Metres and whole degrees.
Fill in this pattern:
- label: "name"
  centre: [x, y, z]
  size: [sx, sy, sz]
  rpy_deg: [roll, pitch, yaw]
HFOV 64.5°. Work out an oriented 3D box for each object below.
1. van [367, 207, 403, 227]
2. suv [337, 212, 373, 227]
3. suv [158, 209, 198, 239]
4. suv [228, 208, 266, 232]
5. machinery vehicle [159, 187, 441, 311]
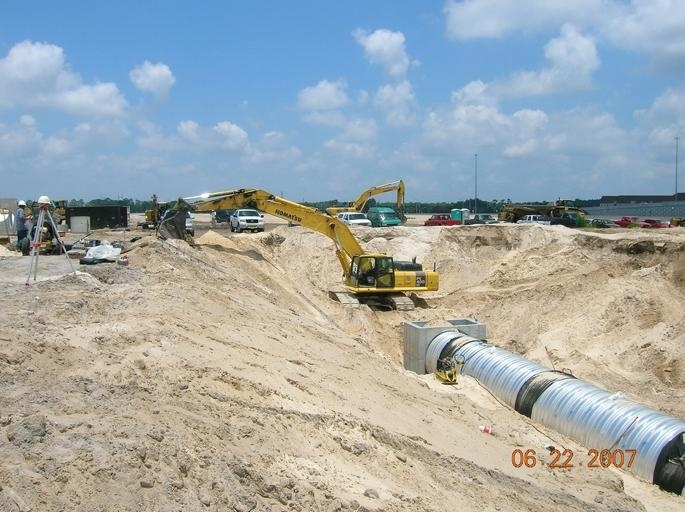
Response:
- label: "van"
  centre: [2.677, -2.444, 34.105]
  size: [1.267, 0.925, 1.905]
  rpy_deg: [-3, 4, -17]
- label: "suv"
  centre: [0.821, -2.229, 33.078]
  size: [1.267, 0.806, 1.989]
  rpy_deg: [-3, 4, -26]
- label: "suv"
  centre: [-8.092, -1.756, 28.149]
  size: [1.976, 1.395, 3.067]
  rpy_deg: [-1, 1, -34]
- label: "suv"
  centre: [-5.636, -2.026, 31.536]
  size: [1.476, 0.902, 2.682]
  rpy_deg: [-1, 3, -25]
- label: "machinery vehicle"
  centre: [-1.623, -0.377, 20.403]
  size: [10.583, 3.642, 2.763]
  rpy_deg: [4, 13, 4]
